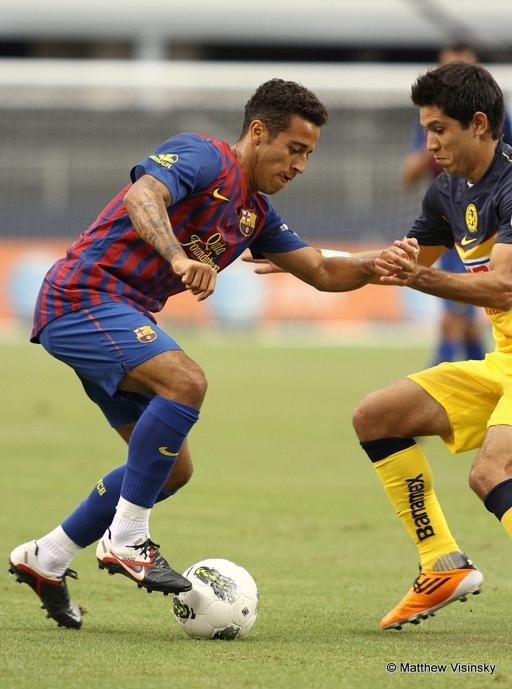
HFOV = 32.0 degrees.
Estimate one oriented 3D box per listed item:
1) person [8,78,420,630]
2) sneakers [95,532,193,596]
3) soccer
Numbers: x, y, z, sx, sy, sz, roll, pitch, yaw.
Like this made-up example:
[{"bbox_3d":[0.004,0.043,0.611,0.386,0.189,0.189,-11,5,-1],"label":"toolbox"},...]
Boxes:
[{"bbox_3d":[-0.244,-0.024,3.500,0.887,2.151,1.125,1,-3,36],"label":"person"},{"bbox_3d":[-0.395,0.763,3.163,0.419,0.151,0.130,11,-1,31],"label":"sneakers"},{"bbox_3d":[-0.134,0.961,3.288,0.335,0.259,0.280,-4,-7,11],"label":"soccer"}]
